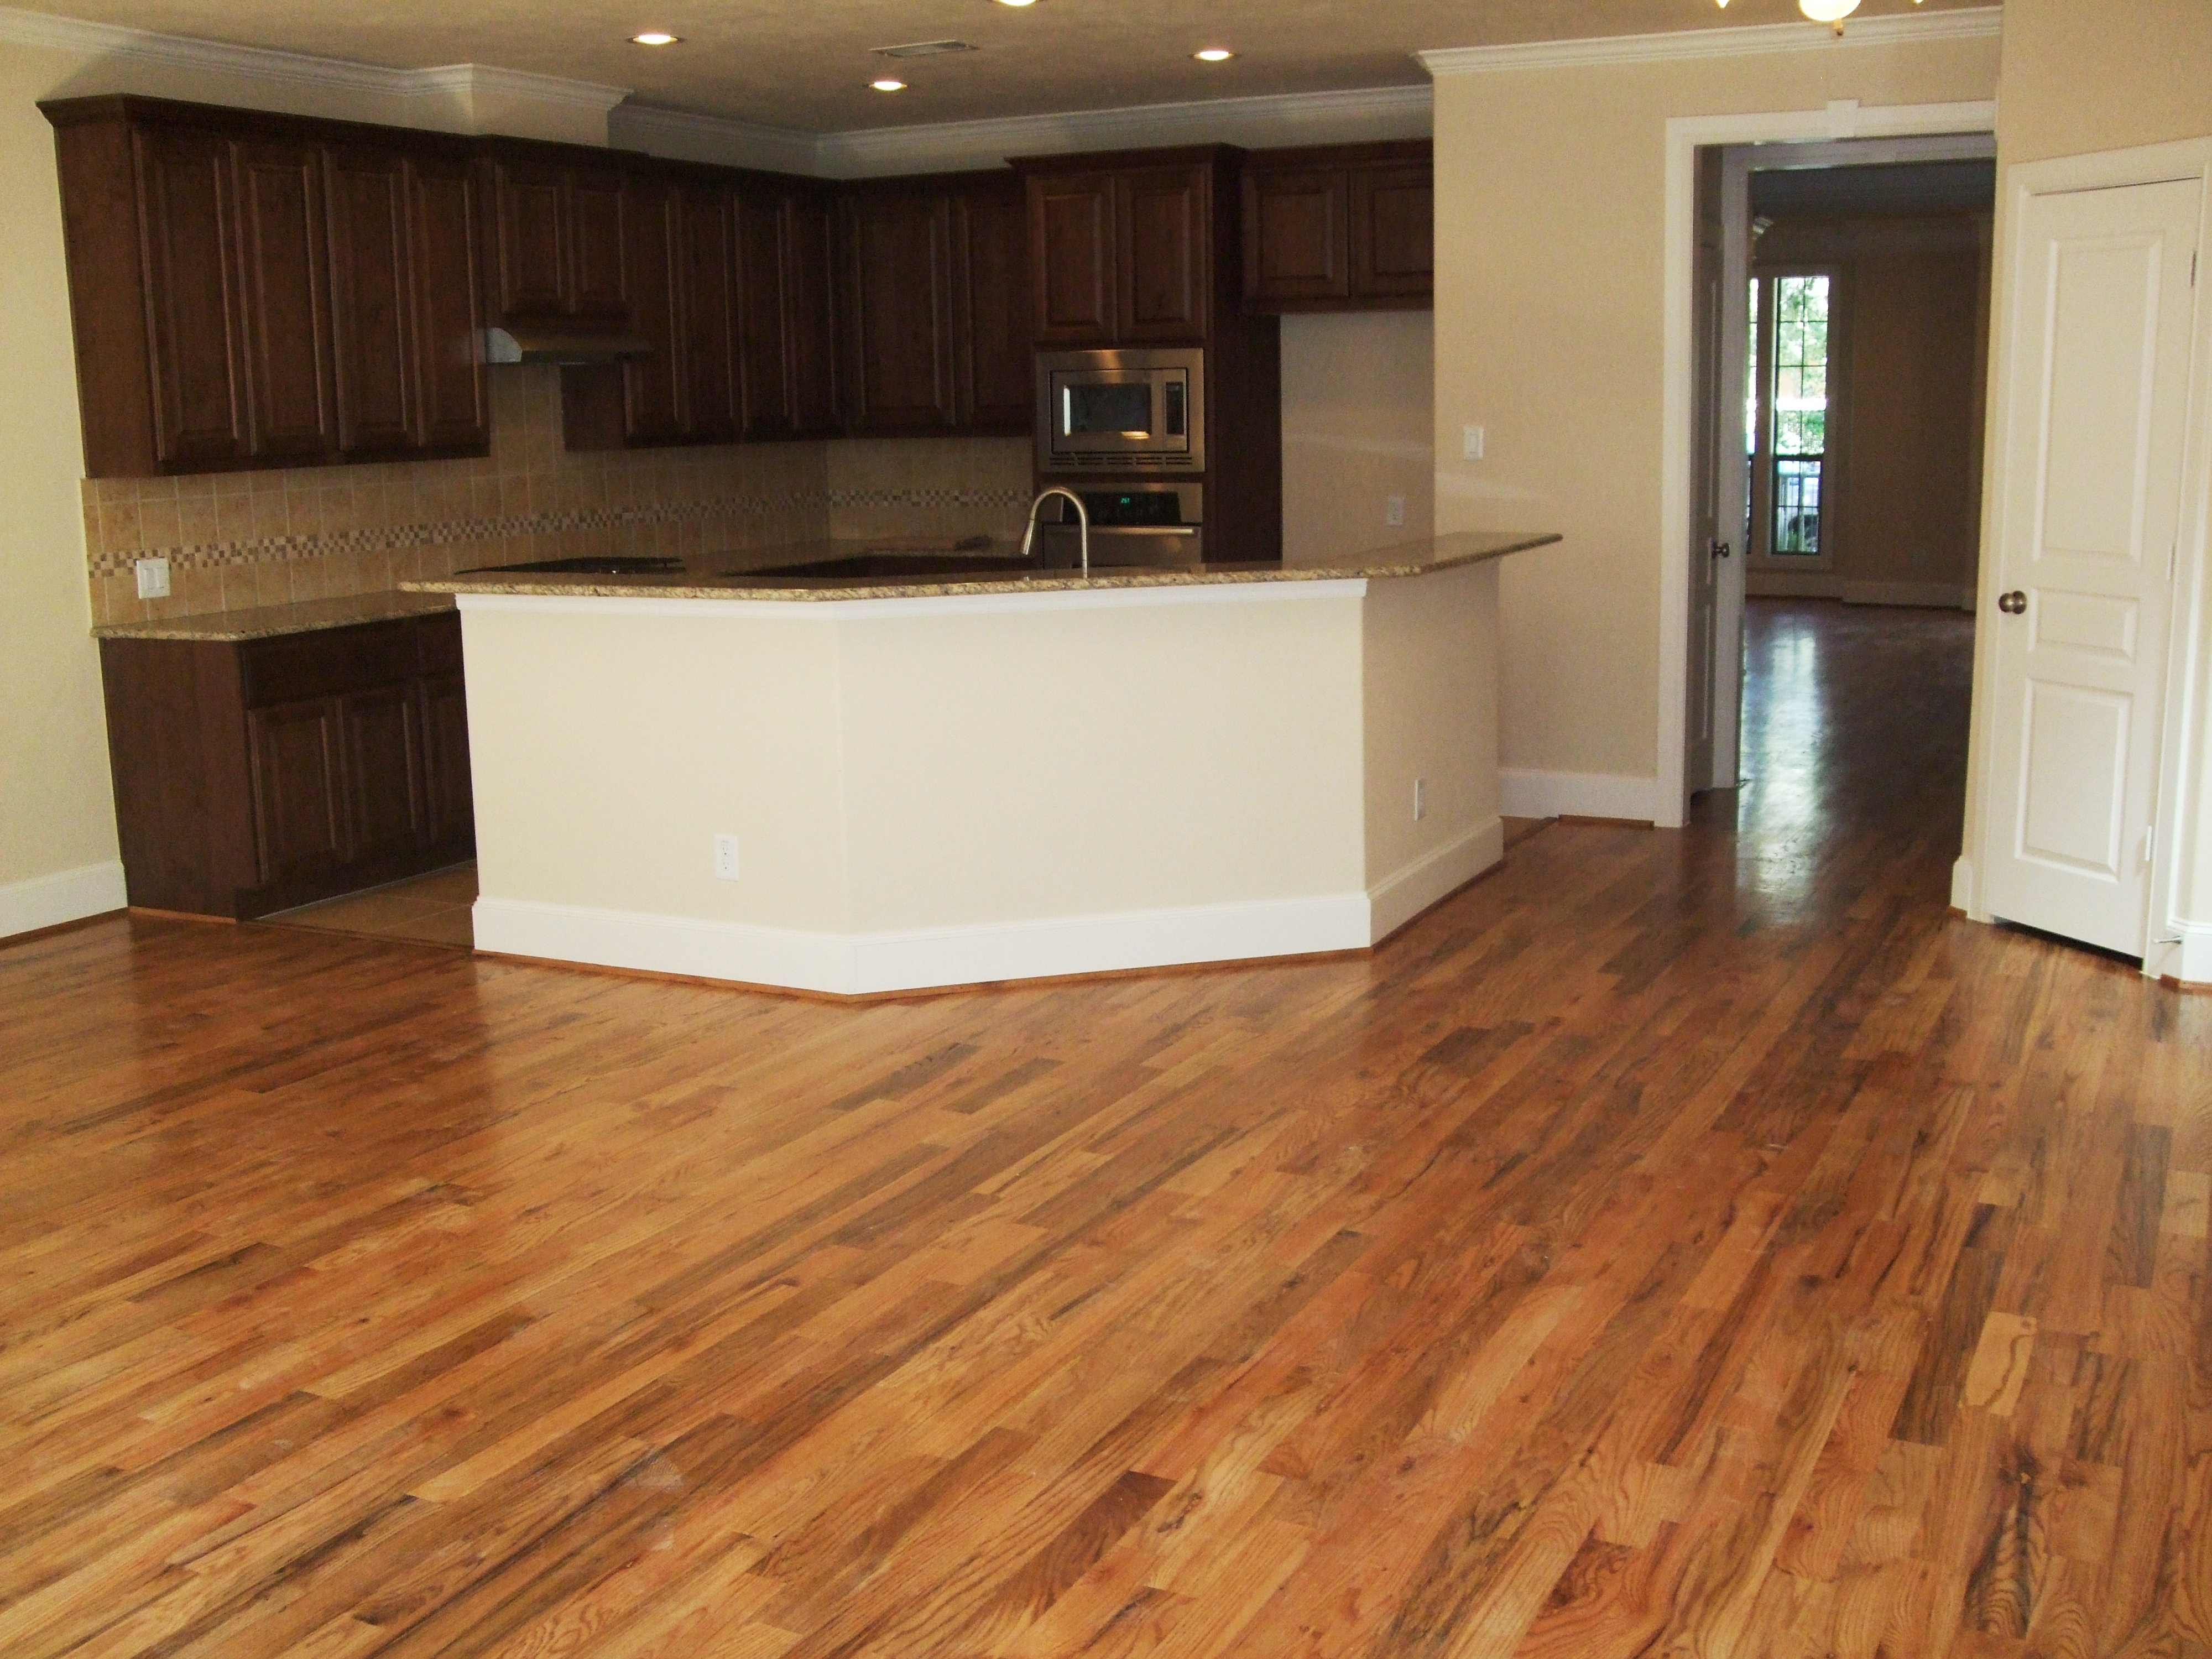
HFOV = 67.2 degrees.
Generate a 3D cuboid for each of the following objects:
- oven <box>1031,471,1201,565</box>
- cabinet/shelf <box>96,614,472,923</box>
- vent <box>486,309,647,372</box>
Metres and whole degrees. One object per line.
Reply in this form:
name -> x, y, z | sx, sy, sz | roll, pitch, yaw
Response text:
oven -> 0.080, -1.498, 7.968 | 0.834, 0.542, 0.466 | 5, 16, 22
cabinet/shelf -> -3.172, -0.288, 6.570 | 1.323, 1.090, 0.577 | -11, 17, -31
vent -> -2.414, -2.168, 7.358 | 0.368, 0.118, 0.504 | 5, 11, 28
